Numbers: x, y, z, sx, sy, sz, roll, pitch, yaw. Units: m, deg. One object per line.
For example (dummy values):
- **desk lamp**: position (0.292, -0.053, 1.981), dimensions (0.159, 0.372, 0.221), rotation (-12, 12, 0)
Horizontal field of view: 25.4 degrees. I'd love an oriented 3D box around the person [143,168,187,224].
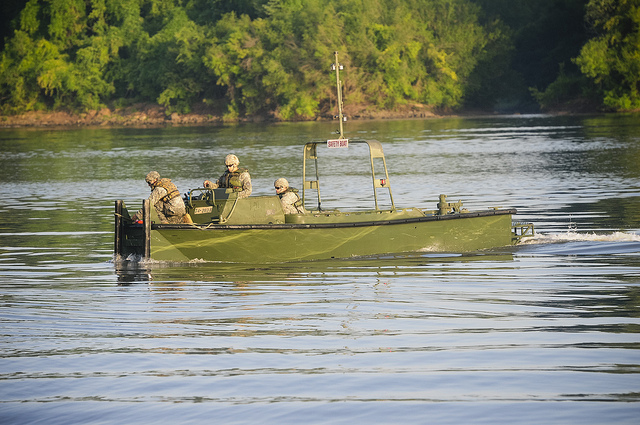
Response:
- **person**: position (-6.347, -0.628, 58.727), dimensions (1.110, 0.889, 2.057), rotation (-28, 68, -14)
